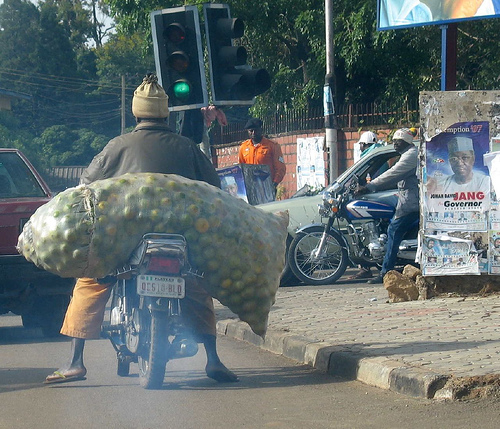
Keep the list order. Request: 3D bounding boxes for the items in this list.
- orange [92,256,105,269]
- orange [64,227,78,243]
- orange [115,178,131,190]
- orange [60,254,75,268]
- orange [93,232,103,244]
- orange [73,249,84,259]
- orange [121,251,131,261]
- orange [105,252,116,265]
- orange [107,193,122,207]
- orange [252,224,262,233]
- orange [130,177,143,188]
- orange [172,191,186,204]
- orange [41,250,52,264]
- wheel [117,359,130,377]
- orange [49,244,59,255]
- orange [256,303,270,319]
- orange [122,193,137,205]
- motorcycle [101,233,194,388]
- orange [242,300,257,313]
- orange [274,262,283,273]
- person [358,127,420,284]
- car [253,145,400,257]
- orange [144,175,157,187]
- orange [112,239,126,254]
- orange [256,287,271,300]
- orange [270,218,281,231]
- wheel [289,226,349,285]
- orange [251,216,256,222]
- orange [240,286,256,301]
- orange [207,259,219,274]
[{"bbox_3d":[-1.092,0.358,6.007,0.078,0.072,0.045,16,18,-8],"label":"orange"},{"bbox_3d":[-1.271,0.154,5.911,0.091,0.113,0.091,-9,13,-37],"label":"orange"},{"bbox_3d":[-0.919,-0.212,6.020,0.105,0.077,0.066,-4,3,-11],"label":"orange"},{"bbox_3d":[-1.308,0.350,6.007,0.082,0.099,0.080,-46,22,-30],"label":"orange"},{"bbox_3d":[-1.085,0.180,5.919,0.063,0.070,0.037,-5,0,6],"label":"orange"},{"bbox_3d":[-1.229,0.291,5.941,0.060,0.066,0.035,2,11,-4],"label":"orange"},{"bbox_3d":[-0.903,0.312,6.034,0.066,0.078,0.077,-4,3,-11],"label":"orange"},{"bbox_3d":[-1.006,0.326,6.007,0.077,0.095,0.068,-4,3,-8],"label":"orange"},{"bbox_3d":[-0.968,-0.090,5.956,0.086,0.090,0.032,-8,-11,-12],"label":"orange"},{"bbox_3d":[0.053,0.113,6.240,0.032,0.062,0.093,-1,4,35],"label":"orange"},{"bbox_3d":[-0.823,-0.225,6.034,0.089,0.075,0.067,-4,3,-8],"label":"orange"},{"bbox_3d":[-0.517,-0.115,6.035,0.103,0.093,0.052,-7,4,-43],"label":"orange"},{"bbox_3d":[-1.477,0.323,6.042,0.049,0.099,0.113,-6,4,-41],"label":"orange"},{"bbox_3d":[-1.044,1.281,6.863,0.102,0.110,0.191,12,-33,1],"label":"wheel"},{"bbox_3d":[-1.410,0.258,5.983,0.063,0.067,0.034,-22,-2,13],"label":"orange"},{"bbox_3d":[0.101,0.750,6.368,0.089,0.134,0.118,-2,3,25],"label":"orange"},{"bbox_3d":[-0.864,-0.103,5.957,0.106,0.084,0.040,-4,3,-12],"label":"orange"},{"bbox_3d":[-0.729,0.672,6.170,0.620,0.818,1.192,1,-2,-9],"label":"motorcycle"},{"bbox_3d":[-0.002,0.708,6.305,0.096,0.113,0.082,-6,4,-42],"label":"orange"},{"bbox_3d":[0.223,0.415,6.353,0.043,0.088,0.152,-3,3,14],"label":"orange"},{"bbox_3d":[1.915,-0.072,10.991,0.737,2.076,1.039,-4,3,-10],"label":"person"},{"bbox_3d":[1.126,-0.232,12.247,2.062,1.260,1.298,1,-3,-1],"label":"car"},{"bbox_3d":[-0.720,-0.234,6.048,0.070,0.077,0.038,5,-13,0],"label":"orange"},{"bbox_3d":[-0.940,0.242,5.968,0.099,0.099,0.039,-4,3,-10],"label":"orange"},{"bbox_3d":[0.096,0.611,6.271,0.077,0.057,0.098,-2,-2,1],"label":"orange"},{"bbox_3d":[0.196,0.089,6.457,0.068,0.097,0.144,-3,3,17],"label":"orange"},{"bbox_3d":[0.961,0.563,11.691,0.629,0.666,0.171,-26,3,2],"label":"wheel"},{"bbox_3d":[0.028,0.044,6.285,0.032,0.042,0.042,-3,3,2],"label":"orange"},{"bbox_3d":[-0.015,0.605,6.222,0.082,0.061,0.103,0,1,20],"label":"orange"},{"bbox_3d":[-0.273,0.389,6.108,0.073,0.086,0.032,-15,16,1],"label":"orange"}]
